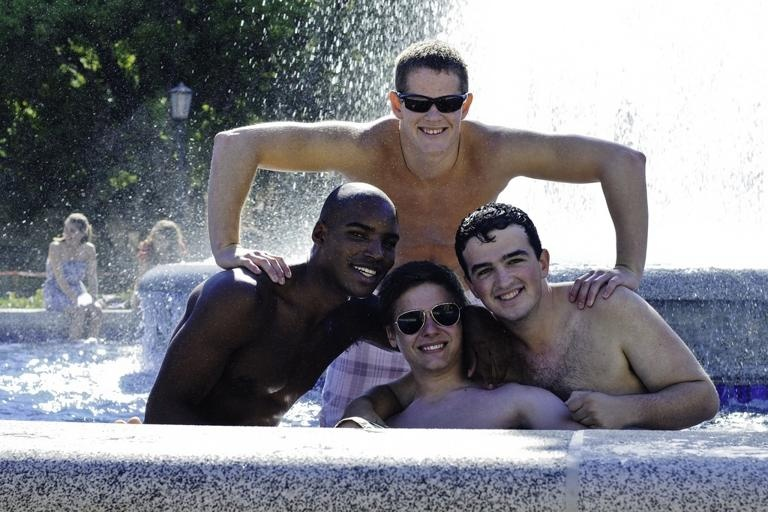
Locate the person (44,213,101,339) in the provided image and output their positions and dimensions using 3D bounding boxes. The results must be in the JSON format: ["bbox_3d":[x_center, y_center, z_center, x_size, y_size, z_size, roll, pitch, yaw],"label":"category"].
[{"bbox_3d":[-4.395,0.301,16.960,0.763,1.715,0.700,-5,8,-16],"label":"person"}]

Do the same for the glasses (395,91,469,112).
[{"bbox_3d":[0.463,-1.491,11.800,0.653,0.229,0.160,-2,7,9],"label":"glasses"}]
